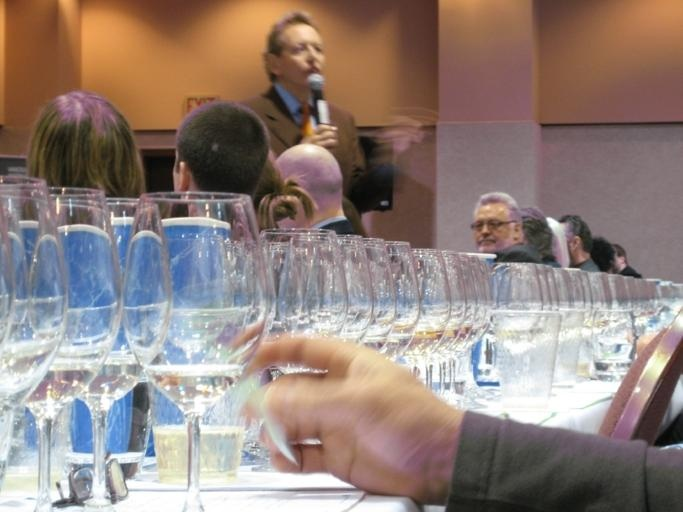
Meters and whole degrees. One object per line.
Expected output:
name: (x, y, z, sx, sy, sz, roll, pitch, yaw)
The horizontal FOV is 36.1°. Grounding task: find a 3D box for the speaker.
speaker: (0.191, -0.461, 6.388, 0.187, 0.474, 0.345, 4, 33, 1)
